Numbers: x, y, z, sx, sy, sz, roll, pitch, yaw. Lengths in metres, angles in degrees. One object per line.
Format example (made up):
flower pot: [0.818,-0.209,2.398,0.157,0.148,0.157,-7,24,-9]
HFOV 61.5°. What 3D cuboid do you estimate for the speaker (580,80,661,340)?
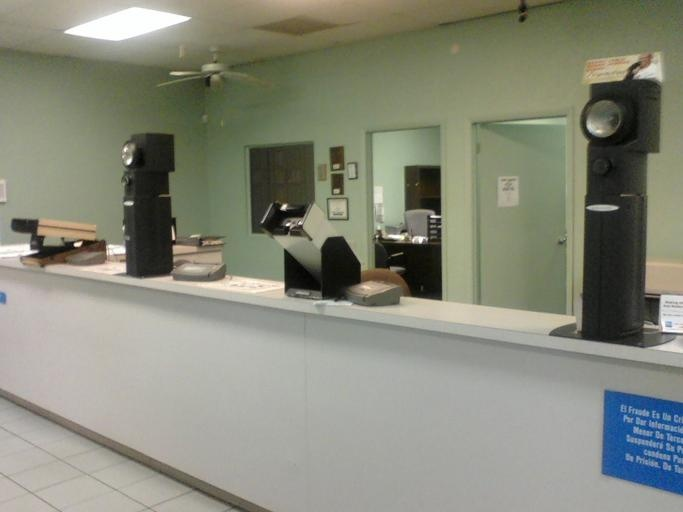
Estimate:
speaker: [1.102,-0.173,2.250,0.321,0.990,0.163,-1,8,-13]

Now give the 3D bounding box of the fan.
fan: [-1.395,-2.046,6.178,0.948,0.336,1.004,-2,14,-7]

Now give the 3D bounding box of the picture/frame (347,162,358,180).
picture/frame: [0.142,-1.075,7.211,0.209,0.229,0.047,9,15,44]

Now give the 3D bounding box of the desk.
desk: [0.896,0.126,7.312,1.108,0.749,0.609,2,3,43]

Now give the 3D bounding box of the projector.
projector: [-0.210,-0.071,2.932,0.378,0.485,0.431,5,11,40]

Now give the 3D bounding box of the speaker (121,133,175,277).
speaker: [-1.254,-0.334,3.765,0.315,0.920,0.197,-2,8,-18]

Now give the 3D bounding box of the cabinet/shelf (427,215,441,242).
cabinet/shelf: [1.146,-0.348,7.254,0.139,0.315,0.231,-5,9,-37]

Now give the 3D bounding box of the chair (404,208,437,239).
chair: [1.077,-0.466,7.856,0.403,0.424,0.351,2,3,16]

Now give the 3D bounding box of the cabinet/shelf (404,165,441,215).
cabinet/shelf: [1.188,-0.978,8.463,0.532,0.693,0.444,1,7,5]
